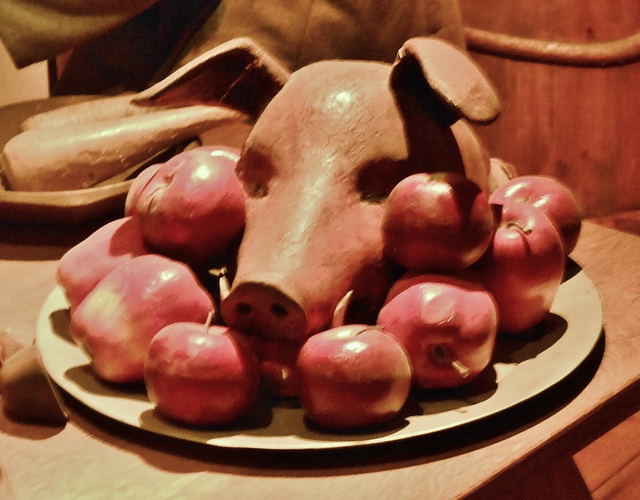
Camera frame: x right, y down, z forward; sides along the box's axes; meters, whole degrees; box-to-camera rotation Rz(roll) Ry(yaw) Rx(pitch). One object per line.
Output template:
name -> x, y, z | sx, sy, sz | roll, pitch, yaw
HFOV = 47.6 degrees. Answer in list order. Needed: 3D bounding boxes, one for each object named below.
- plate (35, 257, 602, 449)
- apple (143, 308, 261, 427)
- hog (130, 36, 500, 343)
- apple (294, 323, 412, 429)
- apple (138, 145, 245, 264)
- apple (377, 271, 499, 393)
plate -> -0.006, 0.087, 0.595 | 0.164, 0.090, 0.182 | -14, 19, -21
apple -> -0.096, 0.096, 0.574 | 0.076, 0.081, 0.080 | -4, 25, -9
hog -> 0.015, -0.089, 0.696 | 0.258, 0.226, 0.294 | 6, 31, 30
apple -> 0.024, 0.104, 0.602 | 0.085, 0.077, 0.093 | 2, 3, 4
apple -> -0.113, -0.057, 0.684 | 0.075, 0.108, 0.092 | 9, 15, 31
apple -> 0.099, 0.063, 0.656 | 0.090, 0.101, 0.101 | 15, 24, 28
